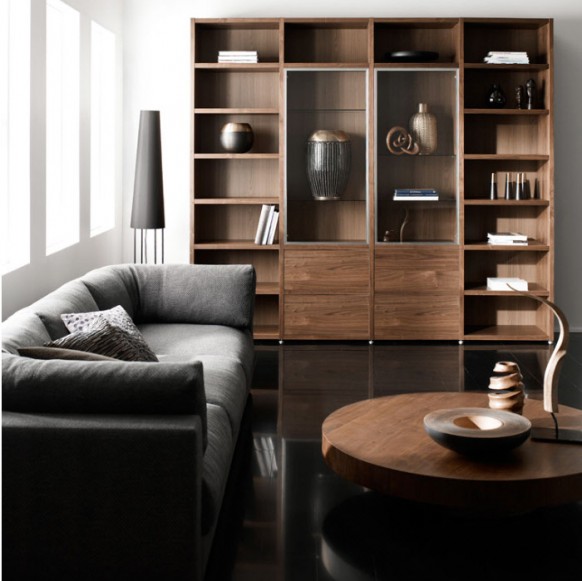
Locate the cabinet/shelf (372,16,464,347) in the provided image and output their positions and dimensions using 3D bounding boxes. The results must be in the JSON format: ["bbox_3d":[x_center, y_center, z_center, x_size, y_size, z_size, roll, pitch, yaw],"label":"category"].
[{"bbox_3d":[1.029,-0.878,4.601,0.719,2.418,0.268,1,2,37],"label":"cabinet/shelf"}]

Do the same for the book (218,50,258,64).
[{"bbox_3d":[-0.415,-1.785,4.631,0.292,0.095,0.049,-1,7,0],"label":"book"}]

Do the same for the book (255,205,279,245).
[{"bbox_3d":[-0.197,-0.526,4.738,0.093,0.303,0.221,8,1,-41],"label":"book"}]

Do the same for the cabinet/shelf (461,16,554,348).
[{"bbox_3d":[1.722,-0.859,4.775,0.702,2.440,0.563,1,7,16],"label":"cabinet/shelf"}]

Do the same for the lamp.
[{"bbox_3d":[-1.142,-0.813,4.771,0.274,1.235,0.577,-3,7,-14],"label":"lamp"}]
